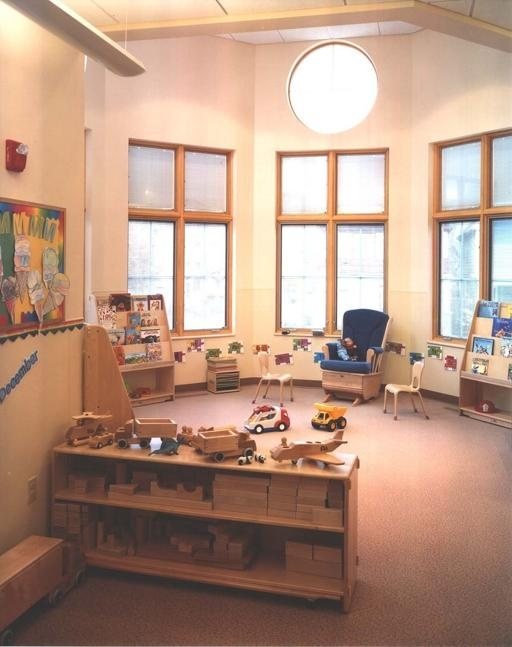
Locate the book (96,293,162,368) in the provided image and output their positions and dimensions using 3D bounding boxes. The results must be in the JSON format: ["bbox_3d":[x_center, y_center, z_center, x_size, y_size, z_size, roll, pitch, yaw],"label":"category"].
[{"bbox_3d":[-1.423,0.081,5.998,0.361,0.865,0.928,0,3,41],"label":"book"}]

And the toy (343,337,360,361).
[{"bbox_3d":[1.273,0.338,7.117,0.211,0.292,0.100,3,19,40],"label":"toy"}]

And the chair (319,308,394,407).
[{"bbox_3d":[1.270,0.410,6.967,0.762,1.160,0.814,3,5,19],"label":"chair"}]

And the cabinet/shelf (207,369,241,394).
[{"bbox_3d":[-0.431,0.698,7.365,0.480,0.337,0.288,-3,5,-30],"label":"cabinet/shelf"}]

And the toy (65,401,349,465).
[{"bbox_3d":[-0.282,0.752,3.709,2.000,0.461,0.621,2,-1,4],"label":"toy"}]
